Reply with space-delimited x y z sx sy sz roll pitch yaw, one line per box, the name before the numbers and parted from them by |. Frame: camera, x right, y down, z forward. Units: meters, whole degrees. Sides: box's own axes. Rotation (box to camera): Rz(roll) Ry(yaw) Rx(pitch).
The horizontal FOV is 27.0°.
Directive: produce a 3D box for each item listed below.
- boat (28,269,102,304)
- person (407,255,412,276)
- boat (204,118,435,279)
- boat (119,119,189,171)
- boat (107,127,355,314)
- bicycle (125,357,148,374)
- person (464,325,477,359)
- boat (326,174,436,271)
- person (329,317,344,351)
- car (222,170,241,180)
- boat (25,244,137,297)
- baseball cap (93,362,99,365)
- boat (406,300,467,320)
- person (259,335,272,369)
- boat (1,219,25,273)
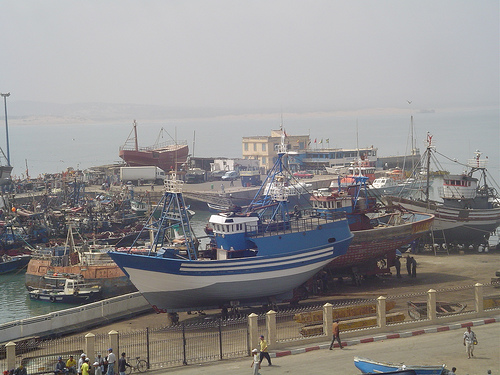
boat | -11.949 6.030 64.664 3.954 1.498 1.528 6 15 -9
person | 9.784 4.850 64.322 0.268 1.100 0.897 -3 4 8
boat | 4.573 1.789 64.972 13.611 6.665 4.805 -1 8 -10
boat | -10.185 -4.242 111.346 8.420 4.158 2.701 -3 14 -40
boat | -2.000 1.863 63.485 12.531 9.346 13.308 -5 4 -14
bicycle | -5.634 8.664 51.253 1.131 0.752 0.720 -4 4 -9
person | 10.936 7.635 51.726 0.581 1.491 0.932 -3 4 11
boat | 7.319 1.890 65.905 10.710 5.003 4.601 -5 7 -31
person | 4.365 7.435 53.353 0.717 1.393 1.845 -4 4 4
car | -2.306 -1.267 114.322 0.898 0.684 1.581 2 4 40
boat | -10.709 5.085 66.093 7.260 2.633 3.294 3 2 29
baseball cap | -7.357 8.356 49.594 0.208 0.114 0.172 -4 4 -9
boat | 10.021 6.482 56.324 3.175 0.786 2.405 -4 4 -6
person | 0.662 8.042 50.916 0.531 1.546 1.408 -3 4 11
boat | -17.041 4.080 74.431 1.731 3.271 5.692 -5 5 -12
